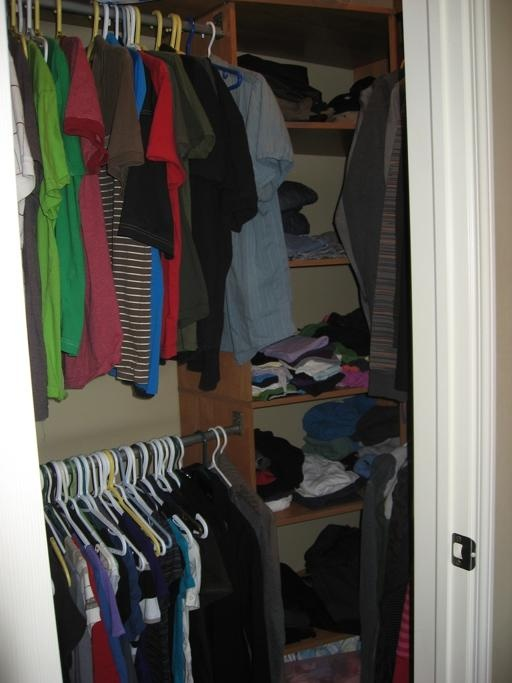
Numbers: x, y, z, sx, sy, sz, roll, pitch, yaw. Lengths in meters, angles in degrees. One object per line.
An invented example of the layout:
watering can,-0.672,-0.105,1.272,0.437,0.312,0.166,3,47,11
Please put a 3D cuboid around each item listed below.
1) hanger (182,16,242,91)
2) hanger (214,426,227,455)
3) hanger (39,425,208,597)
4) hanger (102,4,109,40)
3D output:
hanger,-0.101,-0.702,1.565,0.140,0.215,0.075,-5,17,-3
hanger,-0.097,0.265,1.666,0.020,0.089,0.090,-5,-7,-3
hanger,-0.288,0.357,1.411,0.390,0.210,0.349,-4,5,-21
hanger,-0.345,-0.723,1.393,0.019,0.080,0.043,-3,4,-14
